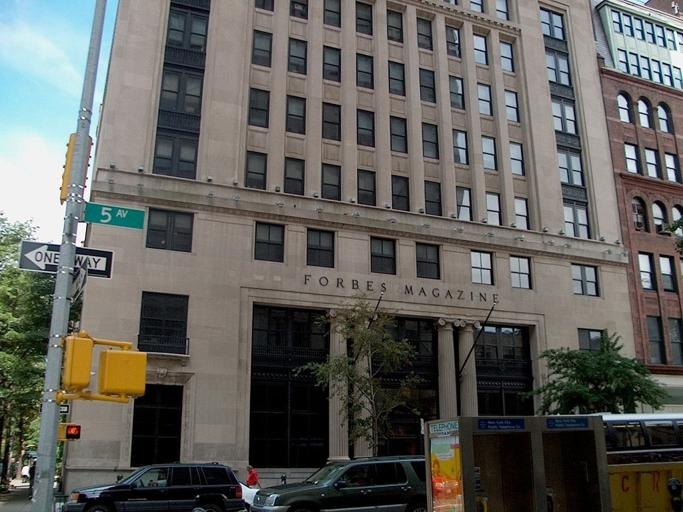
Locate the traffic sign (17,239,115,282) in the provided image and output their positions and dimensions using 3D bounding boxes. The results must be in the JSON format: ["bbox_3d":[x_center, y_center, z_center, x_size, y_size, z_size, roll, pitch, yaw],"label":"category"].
[{"bbox_3d":[-7.217,0.072,17.800,2.633,0.902,0.025,1,-1,-43],"label":"traffic sign"}]

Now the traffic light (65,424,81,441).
[{"bbox_3d":[-5.877,3.801,14.369,0.234,0.326,0.612,1,-18,-7],"label":"traffic light"}]
